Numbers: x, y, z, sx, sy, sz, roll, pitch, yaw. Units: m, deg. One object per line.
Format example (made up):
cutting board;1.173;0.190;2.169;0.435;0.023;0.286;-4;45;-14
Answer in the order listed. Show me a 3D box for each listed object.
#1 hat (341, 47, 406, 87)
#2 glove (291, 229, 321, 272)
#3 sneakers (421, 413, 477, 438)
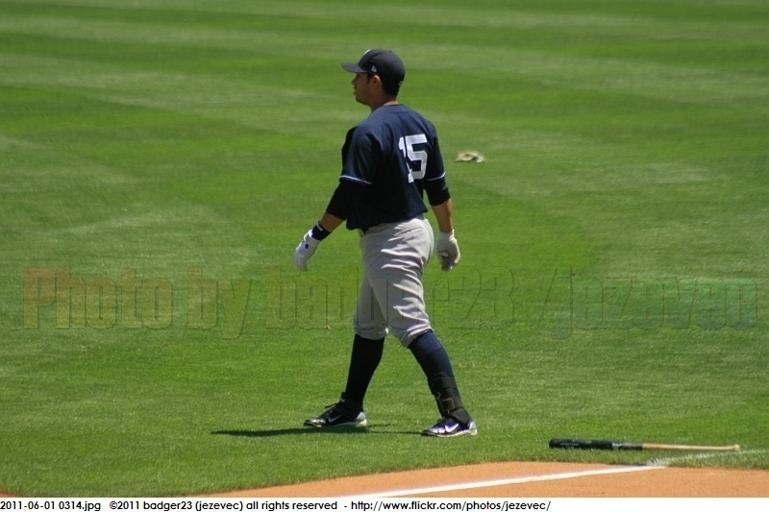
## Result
hat;-0.185;-2.134;21.051;0.610;0.267;0.386;7;12;4
glove;-0.893;-0.078;21.049;0.293;0.453;0.174;46;20;22
sneakers;0.623;1.890;20.887;0.583;0.217;0.208;1;-4;-2
